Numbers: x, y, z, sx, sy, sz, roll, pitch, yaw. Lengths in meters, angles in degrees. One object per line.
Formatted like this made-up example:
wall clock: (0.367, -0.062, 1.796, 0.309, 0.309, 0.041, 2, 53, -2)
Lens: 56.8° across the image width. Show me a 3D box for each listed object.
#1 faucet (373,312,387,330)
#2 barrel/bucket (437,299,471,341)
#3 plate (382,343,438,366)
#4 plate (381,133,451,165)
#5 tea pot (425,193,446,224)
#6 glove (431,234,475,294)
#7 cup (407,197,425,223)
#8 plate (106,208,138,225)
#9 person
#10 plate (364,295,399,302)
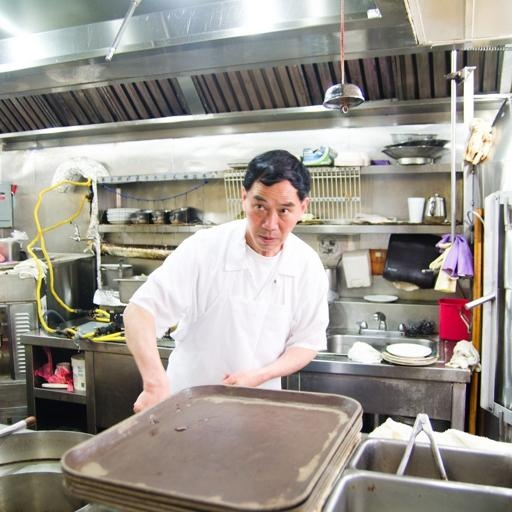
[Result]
faucet: (0.856, 0.445, 3.251, 0.083, 0.133, 0.144, -3, -1, 13)
barrel/bucket: (1.222, 0.394, 2.939, 0.235, 0.216, 0.285, 5, 9, 35)
plate: (0.867, 0.547, 2.641, 0.283, 0.115, 0.292, -3, -1, 36)
plate: (1.035, -0.698, 3.070, 0.392, 0.205, 0.299, -3, -1, 9)
tea pot: (1.158, -0.296, 3.057, 0.123, 0.189, 0.091, -3, 0, 21)
glove: (1.107, 0.043, 2.681, 0.227, 0.331, 0.322, -3, -1, 22)
cup: (1.072, -0.309, 3.168, 0.100, 0.184, 0.178, -3, -1, 17)
plate: (-1.058, -0.306, 3.752, 0.191, 0.126, 0.070, 0, -19, 13)
person: (-0.097, 0.095, 1.626, 0.681, 0.953, 0.760, -3, 0, 7)
plate: (0.898, 0.303, 3.394, 0.238, 0.059, 0.173, -3, -1, 11)
